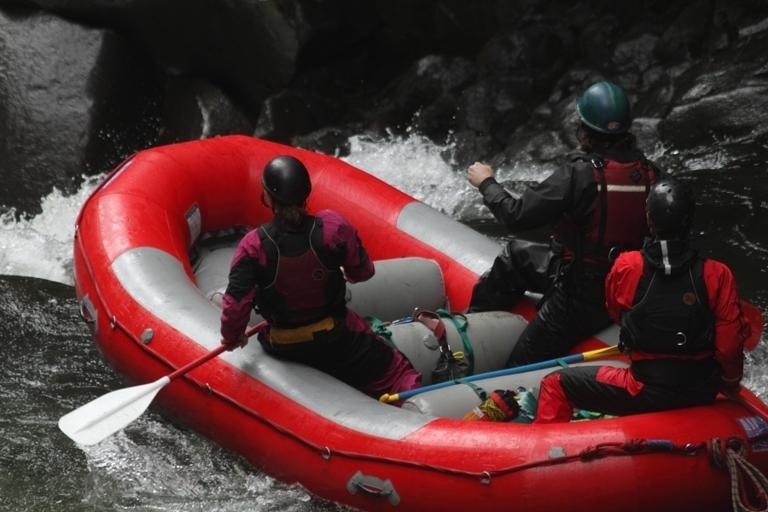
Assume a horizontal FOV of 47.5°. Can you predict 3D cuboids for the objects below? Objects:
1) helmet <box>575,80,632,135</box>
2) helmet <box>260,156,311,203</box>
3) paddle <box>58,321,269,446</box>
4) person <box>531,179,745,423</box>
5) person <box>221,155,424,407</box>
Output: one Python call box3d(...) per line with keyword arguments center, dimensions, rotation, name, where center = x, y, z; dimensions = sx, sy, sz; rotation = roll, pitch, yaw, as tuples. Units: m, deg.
box3d(center=(1.475, -1.019, 5.788), dimensions=(0.379, 0.266, 0.480), rotation=(-2, 38, -2), name="helmet")
box3d(center=(-0.629, -0.452, 5.588), dimensions=(0.394, 0.349, 0.431), rotation=(-1, 0, -16), name="helmet")
box3d(center=(-1.402, 0.860, 5.743), dimensions=(1.502, 0.077, 0.304), rotation=(-30, 76, -20), name="paddle")
box3d(center=(1.521, 0.329, 5.416), dimensions=(1.240, 1.535, 0.887), rotation=(-6, 24, 0), name="person")
box3d(center=(-0.498, 0.349, 5.951), dimensions=(1.370, 2.031, 0.865), rotation=(-16, 26, -27), name="person")
